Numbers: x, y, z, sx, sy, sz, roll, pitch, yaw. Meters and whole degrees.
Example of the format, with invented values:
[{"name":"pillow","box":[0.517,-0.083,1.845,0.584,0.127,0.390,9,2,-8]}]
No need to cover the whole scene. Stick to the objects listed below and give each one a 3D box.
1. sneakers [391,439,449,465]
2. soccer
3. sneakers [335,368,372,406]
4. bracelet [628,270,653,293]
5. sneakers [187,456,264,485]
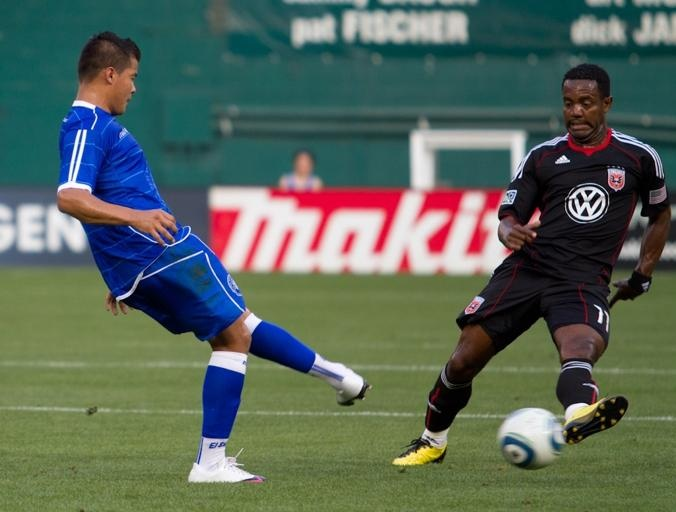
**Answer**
[{"name":"sneakers","box":[0.603,1.431,9.611,0.469,0.170,0.156,-4,-1,-9]},{"name":"soccer","box":[1.327,1.243,8.896,0.475,0.425,0.454,-9,17,16]},{"name":"sneakers","box":[0.102,0.979,9.533,0.298,0.182,0.089,-1,43,-13]},{"name":"bracelet","box":[2.244,0.208,9.613,0.184,0.124,0.166,17,14,-7]},{"name":"sneakers","box":[-0.810,1.511,9.156,0.605,0.195,0.183,1,-5,-4]}]
